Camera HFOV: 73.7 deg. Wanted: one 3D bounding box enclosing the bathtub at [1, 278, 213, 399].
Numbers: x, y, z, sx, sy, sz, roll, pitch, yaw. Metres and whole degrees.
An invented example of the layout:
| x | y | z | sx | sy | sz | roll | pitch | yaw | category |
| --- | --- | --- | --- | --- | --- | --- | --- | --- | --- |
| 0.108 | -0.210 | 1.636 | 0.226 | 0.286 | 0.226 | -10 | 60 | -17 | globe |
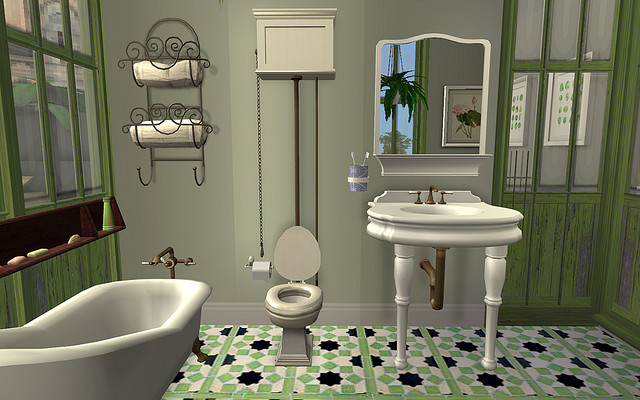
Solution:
| x | y | z | sx | sy | sz | roll | pitch | yaw | category |
| --- | --- | --- | --- | --- | --- | --- | --- | --- | --- |
| -1.442 | 1.025 | 2.941 | 0.767 | 0.689 | 1.234 | 8 | 13 | 40 | bathtub |

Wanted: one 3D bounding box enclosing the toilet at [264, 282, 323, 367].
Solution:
| x | y | z | sx | sy | sz | roll | pitch | yaw | category |
| --- | --- | --- | --- | --- | --- | --- | --- | --- | --- |
| -0.196 | 1.013 | 3.585 | 0.526 | 0.542 | 0.642 | -1 | 4 | 3 | toilet |

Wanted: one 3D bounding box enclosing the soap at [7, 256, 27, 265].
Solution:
| x | y | z | sx | sy | sz | roll | pitch | yaw | category |
| --- | --- | --- | --- | --- | --- | --- | --- | --- | --- |
| -2.155 | 0.421 | 3.015 | 0.068 | 0.024 | 0.068 | -1 | 6 | -3 | soap |

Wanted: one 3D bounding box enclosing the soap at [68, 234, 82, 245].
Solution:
| x | y | z | sx | sy | sz | roll | pitch | yaw | category |
| --- | --- | --- | --- | --- | --- | --- | --- | --- | --- |
| -1.939 | 0.303 | 3.343 | 0.073 | 0.022 | 0.080 | 7 | 16 | 3 | soap |

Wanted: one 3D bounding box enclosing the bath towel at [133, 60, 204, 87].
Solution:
| x | y | z | sx | sy | sz | roll | pitch | yaw | category |
| --- | --- | --- | --- | --- | --- | --- | --- | --- | --- |
| -1.325 | -1.104 | 3.724 | 0.579 | 0.219 | 0.151 | 0 | 11 | 1 | bath towel |

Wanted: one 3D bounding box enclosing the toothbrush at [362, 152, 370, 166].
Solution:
| x | y | z | sx | sy | sz | roll | pitch | yaw | category |
| --- | --- | --- | --- | --- | --- | --- | --- | --- | --- |
| 0.414 | -0.385 | 3.803 | 0.036 | 0.157 | 0.022 | 23 | -1 | -29 | toothbrush |

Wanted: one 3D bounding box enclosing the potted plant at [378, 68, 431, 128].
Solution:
| x | y | z | sx | sy | sz | roll | pitch | yaw | category |
| --- | --- | --- | --- | --- | --- | --- | --- | --- | --- |
| 0.755 | -0.923 | 3.839 | 0.423 | 0.316 | 0.428 | 6 | 9 | 43 | potted plant |

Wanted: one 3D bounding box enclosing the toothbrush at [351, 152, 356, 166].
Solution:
| x | y | z | sx | sy | sz | roll | pitch | yaw | category |
| --- | --- | --- | --- | --- | --- | --- | --- | --- | --- |
| 0.307 | -0.374 | 3.816 | 0.041 | 0.106 | 0.083 | 0 | 10 | 1 | toothbrush |

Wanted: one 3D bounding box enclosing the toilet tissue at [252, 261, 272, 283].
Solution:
| x | y | z | sx | sy | sz | roll | pitch | yaw | category |
| --- | --- | --- | --- | --- | --- | --- | --- | --- | --- |
| -0.524 | 0.617 | 3.767 | 0.226 | 0.199 | 0.151 | 0 | 0 | 2 | toilet tissue |
